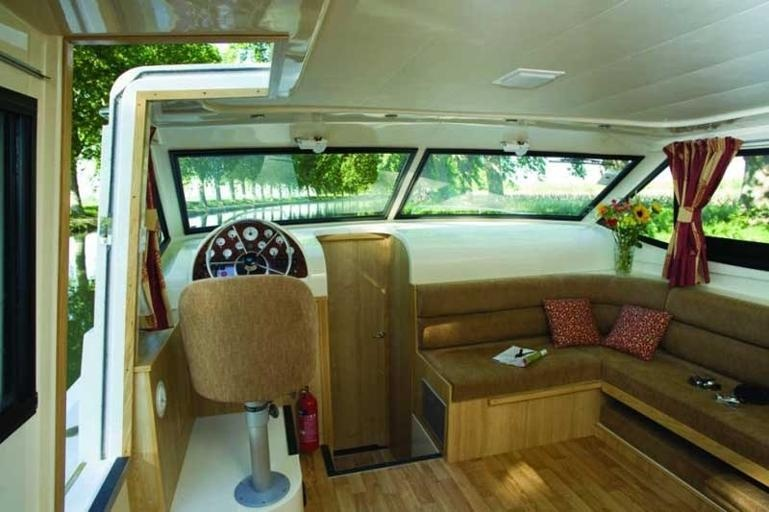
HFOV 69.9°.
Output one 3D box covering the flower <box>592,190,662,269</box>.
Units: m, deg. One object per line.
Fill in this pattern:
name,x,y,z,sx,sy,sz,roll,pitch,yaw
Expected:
flower,2.089,-0.309,4.917,0.628,0.746,0.702,1,14,11
